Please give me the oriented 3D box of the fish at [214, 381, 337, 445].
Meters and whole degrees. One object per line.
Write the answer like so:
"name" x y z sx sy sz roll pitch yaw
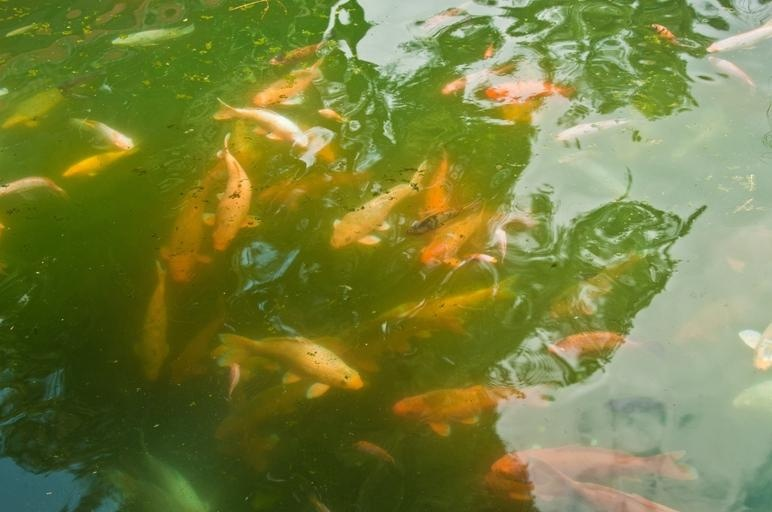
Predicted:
"fish" -1.001 1.486 8.319 0.812 0.302 0.201 -20 40 -9

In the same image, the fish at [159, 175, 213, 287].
"fish" -2.001 -0.225 8.954 0.425 0.414 0.991 17 73 -1

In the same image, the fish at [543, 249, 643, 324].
"fish" 2.021 0.326 8.655 0.847 0.179 0.322 -34 57 -10

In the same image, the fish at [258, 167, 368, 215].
"fish" -0.765 -0.651 9.162 0.833 0.309 0.190 -9 47 0

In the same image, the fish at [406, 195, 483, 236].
"fish" 0.572 -0.388 8.936 0.667 0.248 0.126 -26 15 -17

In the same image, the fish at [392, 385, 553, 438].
"fish" 0.845 1.397 8.396 1.542 0.426 0.525 -8 31 5

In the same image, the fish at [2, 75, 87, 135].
"fish" -3.884 -1.683 9.934 0.364 0.116 0.846 22 65 26

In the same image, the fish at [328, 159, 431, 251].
"fish" -0.036 -0.489 9.140 1.128 0.464 0.325 -36 36 -6

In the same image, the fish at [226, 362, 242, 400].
"fish" -1.450 1.178 8.429 0.098 0.151 0.353 -5 68 48

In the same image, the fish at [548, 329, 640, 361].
"fish" 1.961 0.855 8.417 0.779 0.155 0.245 -7 75 -1

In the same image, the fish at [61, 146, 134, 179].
"fish" -3.043 -0.974 9.430 0.574 0.133 0.211 -20 70 -2

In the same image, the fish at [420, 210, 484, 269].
"fish" 0.663 -0.208 8.869 0.325 0.120 0.792 26 67 27

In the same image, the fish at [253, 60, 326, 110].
"fish" -1.074 -1.876 9.872 0.772 0.179 0.315 -30 64 -19

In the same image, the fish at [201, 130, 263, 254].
"fish" -1.603 -0.604 9.148 0.356 0.472 1.093 -20 59 54

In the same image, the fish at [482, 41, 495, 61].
"fish" 1.155 -2.311 10.029 0.112 0.079 0.230 11 53 22

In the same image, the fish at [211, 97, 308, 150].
"fish" -1.359 -1.392 9.542 1.006 0.330 0.237 19 26 4

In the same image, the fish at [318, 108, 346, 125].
"fish" -0.603 -1.508 9.645 0.349 0.060 0.136 19 70 -2
